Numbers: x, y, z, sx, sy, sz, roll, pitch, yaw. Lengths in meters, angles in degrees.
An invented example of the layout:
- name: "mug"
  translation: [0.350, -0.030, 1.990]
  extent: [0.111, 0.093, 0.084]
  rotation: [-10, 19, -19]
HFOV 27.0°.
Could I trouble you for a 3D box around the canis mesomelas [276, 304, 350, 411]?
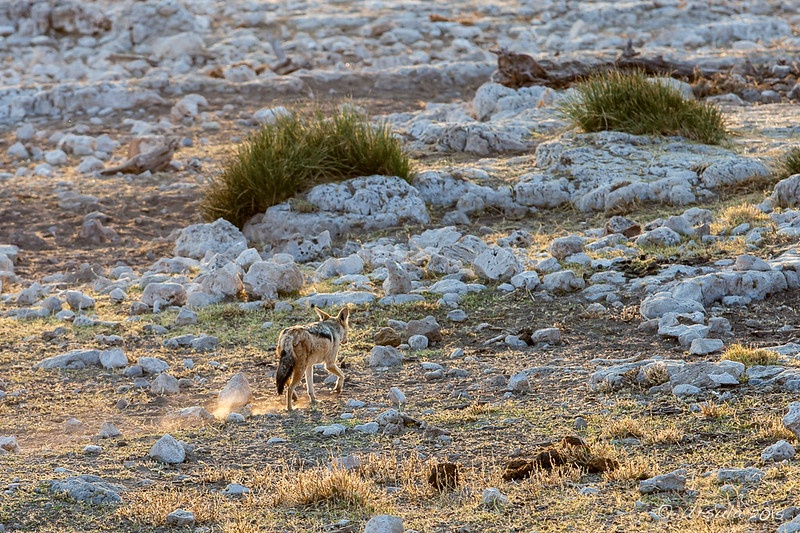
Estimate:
- name: "canis mesomelas"
  translation: [-1.289, 1.340, 24.091]
  extent: [0.615, 1.447, 1.768]
  rotation: [0, 3, 29]
